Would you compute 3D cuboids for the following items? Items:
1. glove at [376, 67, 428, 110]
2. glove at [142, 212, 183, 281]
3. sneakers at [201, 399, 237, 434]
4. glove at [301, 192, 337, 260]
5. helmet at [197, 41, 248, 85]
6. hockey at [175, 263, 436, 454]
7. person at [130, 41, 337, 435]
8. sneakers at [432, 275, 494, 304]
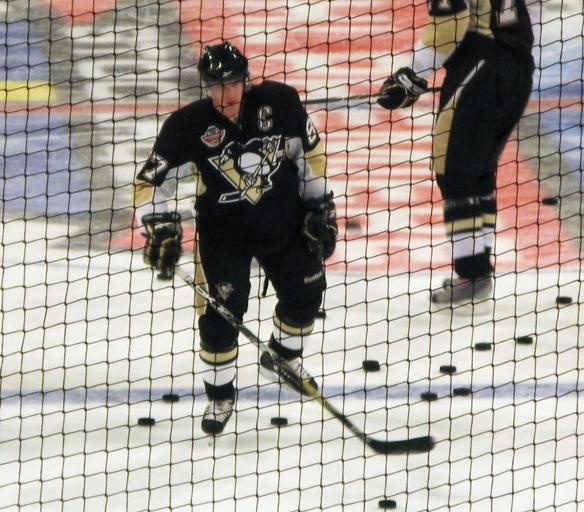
[{"bbox_3d":[0.651,-1.027,7.444,0.363,0.223,0.184,0,12,8],"label":"glove"},{"bbox_3d":[-0.694,-0.057,6.737,0.238,0.298,0.126,2,18,-4],"label":"glove"},{"bbox_3d":[-0.405,0.881,6.807,0.087,0.108,0.277,24,24,-8],"label":"sneakers"},{"bbox_3d":[0.155,-0.154,6.790,0.202,0.338,0.087,9,-18,-37],"label":"glove"},{"bbox_3d":[-0.354,-1.036,6.603,0.213,0.233,0.252,-1,29,2],"label":"helmet"},{"bbox_3d":[-0.035,0.559,6.959,1.878,0.211,0.221,36,18,16],"label":"hockey"},{"bbox_3d":[-0.281,-0.202,6.758,1.035,1.874,0.317,-5,16,1],"label":"person"},{"bbox_3d":[0.960,0.194,7.363,0.424,0.178,0.137,-7,54,27],"label":"sneakers"}]
